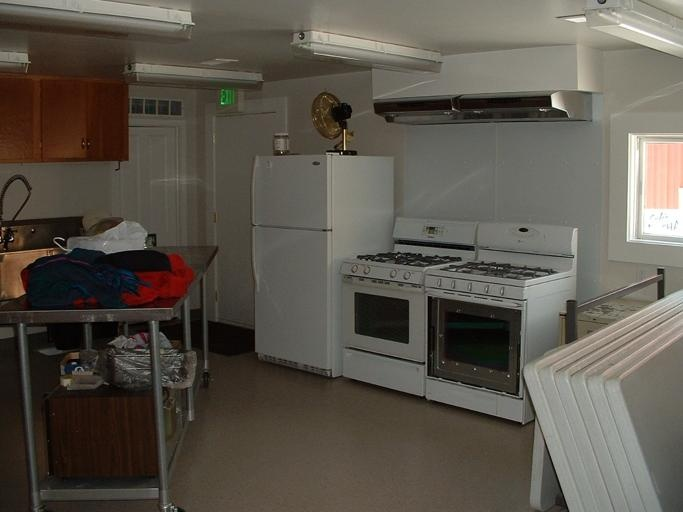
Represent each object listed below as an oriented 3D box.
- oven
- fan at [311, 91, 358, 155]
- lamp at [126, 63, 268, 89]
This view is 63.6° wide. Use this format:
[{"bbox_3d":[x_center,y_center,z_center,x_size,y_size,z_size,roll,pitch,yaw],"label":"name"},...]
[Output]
[{"bbox_3d":[0.970,0.481,4.587,1.512,1.514,1.050,5,3,44],"label":"oven"},{"bbox_3d":[-0.028,-1.303,5.424,0.396,0.632,0.424,1,5,17],"label":"fan"},{"bbox_3d":[-1.386,-1.739,5.290,1.256,0.159,0.390,-8,13,-39],"label":"lamp"}]
